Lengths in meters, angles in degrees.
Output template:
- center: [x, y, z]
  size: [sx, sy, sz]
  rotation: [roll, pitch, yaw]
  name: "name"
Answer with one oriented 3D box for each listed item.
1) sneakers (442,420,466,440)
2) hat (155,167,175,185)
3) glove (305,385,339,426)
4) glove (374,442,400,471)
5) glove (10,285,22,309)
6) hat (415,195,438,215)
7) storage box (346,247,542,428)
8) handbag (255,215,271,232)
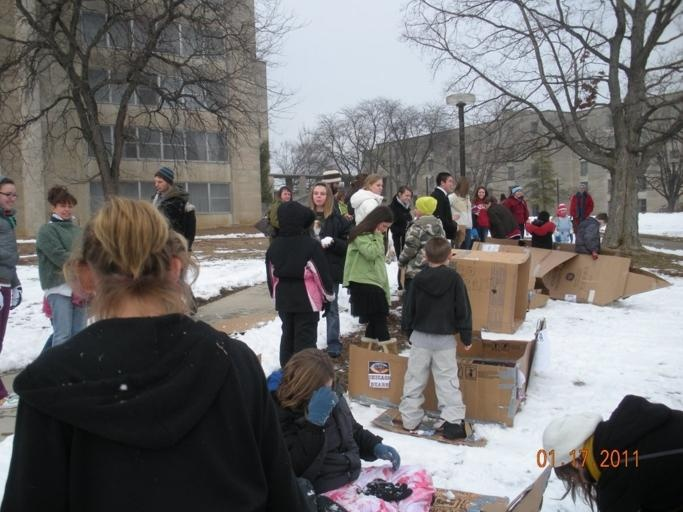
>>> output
- center: [0.916, 1.432, 4.827]
  size: [0.211, 0.129, 0.149]
  rotation: [-2, 6, 3]
  name: "sneakers"
- center: [-2.007, -0.918, 6.616]
  size: [0.183, 0.162, 0.202]
  rotation: [22, -4, 21]
  name: "hat"
- center: [-0.125, 0.945, 3.669]
  size: [0.170, 0.245, 0.065]
  rotation: [29, -12, 2]
  name: "glove"
- center: [0.336, 1.422, 4.141]
  size: [0.166, 0.174, 0.168]
  rotation: [-7, 8, -40]
  name: "glove"
- center: [-3.156, 0.416, 5.712]
  size: [0.153, 0.240, 0.081]
  rotation: [7, -3, 29]
  name: "glove"
- center: [0.961, -0.562, 6.685]
  size: [0.180, 0.250, 0.200]
  rotation: [-19, 47, 10]
  name: "hat"
- center: [1.192, 0.918, 5.883]
  size: [1.558, 1.567, 1.648]
  rotation: [6, 12, 30]
  name: "storage box"
- center: [-1.034, -0.398, 7.898]
  size: [0.192, 0.226, 0.086]
  rotation: [14, -1, 20]
  name: "handbag"
